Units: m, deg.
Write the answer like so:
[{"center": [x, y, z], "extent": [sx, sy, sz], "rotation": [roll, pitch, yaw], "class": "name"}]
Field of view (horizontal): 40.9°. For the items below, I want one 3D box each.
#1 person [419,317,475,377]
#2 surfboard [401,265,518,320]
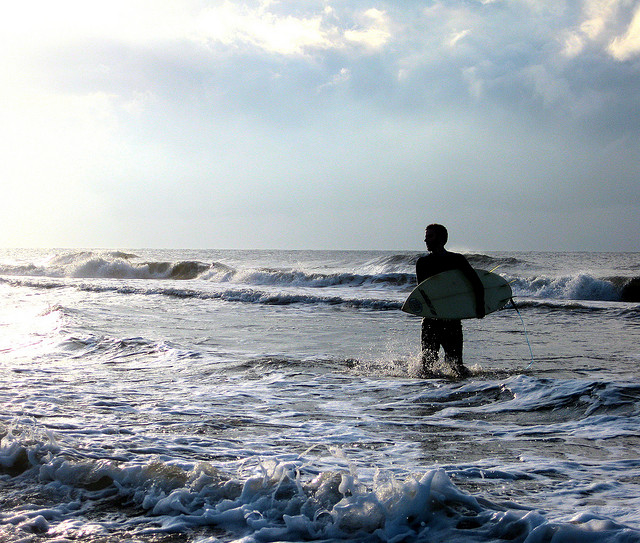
[{"center": [1.386, 0.790, 9.375], "extent": [0.598, 0.629, 0.454], "rotation": [2, 8, 7], "class": "person"}, {"center": [1.685, 0.249, 9.628], "extent": [1.645, 0.444, 0.326], "rotation": [-10, -6, -13], "class": "surfboard"}]
